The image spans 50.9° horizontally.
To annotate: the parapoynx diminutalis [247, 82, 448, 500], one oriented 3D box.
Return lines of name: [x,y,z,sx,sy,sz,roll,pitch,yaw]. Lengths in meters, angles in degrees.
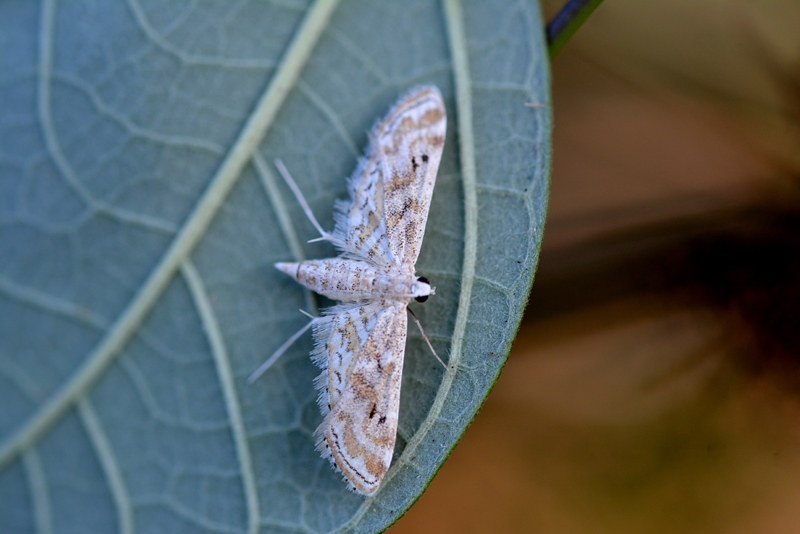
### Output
parapoynx diminutalis: [-0.302,0.095,4.980,1.032,0.494,2.359,7,-79,-14]
